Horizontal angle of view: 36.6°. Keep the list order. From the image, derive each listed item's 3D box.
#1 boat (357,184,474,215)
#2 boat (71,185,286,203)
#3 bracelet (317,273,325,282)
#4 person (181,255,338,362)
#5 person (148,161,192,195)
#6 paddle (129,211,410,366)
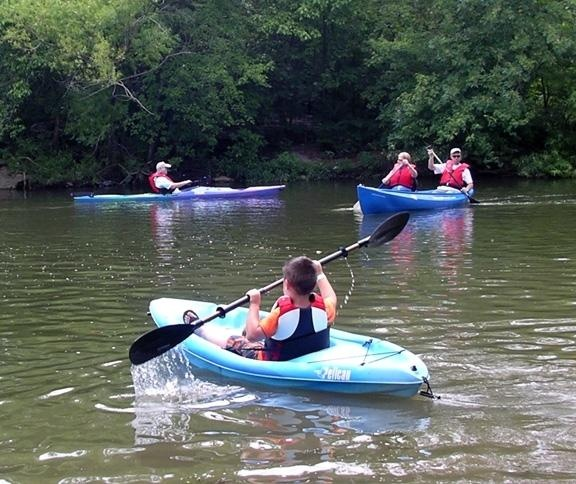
[{"bbox_3d":[2.450,-0.865,17.652,3.038,0.568,0.595,-4,4,-41],"label":"boat"},{"bbox_3d":[-2.893,-1.242,22.667,5.355,0.449,0.793,-3,6,-18],"label":"boat"},{"bbox_3d":[0.296,0.316,8.351,0.071,0.081,0.071,-3,47,-24],"label":"bracelet"},{"bbox_3d":[-0.254,0.622,8.485,0.764,0.657,1.348,-8,13,-41],"label":"person"},{"bbox_3d":[-3.141,-1.608,22.030,0.745,0.792,3.532,-2,3,-9],"label":"person"},{"bbox_3d":[-0.233,0.537,10.324,3.946,0.468,0.248,-23,23,-9],"label":"paddle"}]
